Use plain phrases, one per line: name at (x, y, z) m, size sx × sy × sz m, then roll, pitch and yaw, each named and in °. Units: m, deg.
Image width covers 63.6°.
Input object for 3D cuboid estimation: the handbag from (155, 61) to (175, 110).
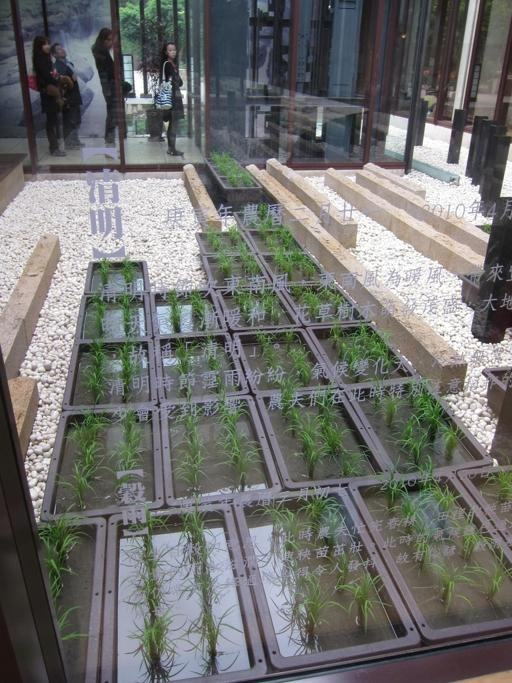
handbag at (-0.209, -0.598, 0.971) m, size 0.046 × 0.096 × 0.036 m, roll -13°, pitch 29°, yaw -29°
